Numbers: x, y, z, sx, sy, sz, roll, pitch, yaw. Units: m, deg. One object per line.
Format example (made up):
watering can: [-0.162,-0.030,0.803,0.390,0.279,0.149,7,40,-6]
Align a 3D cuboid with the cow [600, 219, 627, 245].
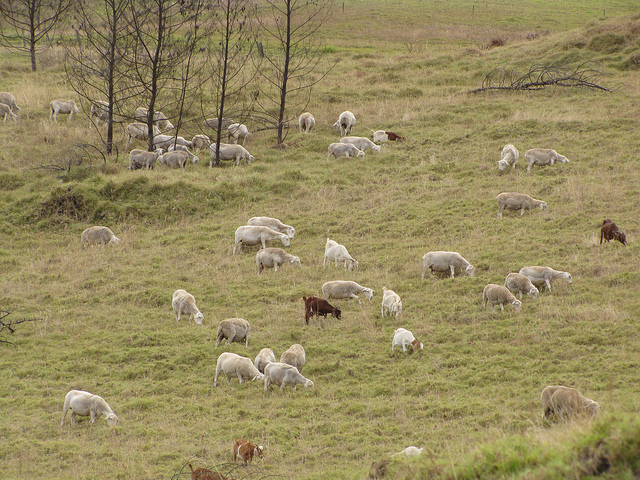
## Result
cow: [17.706,-0.447,87.448,1.558,1.314,0.881,0,8,11]

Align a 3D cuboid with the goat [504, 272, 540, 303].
goat: [11.733,2.772,85.459,0.776,1.532,2.442,-8,22,-45]

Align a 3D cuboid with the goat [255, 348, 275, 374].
goat: [-3.172,6.848,82.542,0.651,1.243,1.650,3,19,4]

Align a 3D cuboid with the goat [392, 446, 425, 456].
goat: [4.777,11.146,77.129,1.303,0.444,0.783,-10,-17,-3]

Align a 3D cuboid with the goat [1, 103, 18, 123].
goat: [-22.256,-9.073,102.992,0.714,1.221,1.074,4,10,37]

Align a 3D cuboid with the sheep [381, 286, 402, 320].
sheep: [4.177,3.711,85.367,0.662,1.482,2.117,-1,8,-28]

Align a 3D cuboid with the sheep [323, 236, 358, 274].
sheep: [1.185,1.091,89.039,0.953,2.079,2.852,-8,19,-43]

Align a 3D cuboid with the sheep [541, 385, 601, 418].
sheep: [13.706,8.726,78.957,2.322,1.828,2.646,-5,4,37]

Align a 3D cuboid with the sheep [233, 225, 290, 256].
sheep: [-3.732,0.003,91.580,3.608,2.566,1.089,6,29,1]

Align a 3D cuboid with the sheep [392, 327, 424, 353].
sheep: [4.965,5.694,83.149,1.640,1.253,0.736,-1,8,7]

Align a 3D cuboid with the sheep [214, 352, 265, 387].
sheep: [-4.623,7.517,82.538,3.124,2.129,1.110,13,13,24]

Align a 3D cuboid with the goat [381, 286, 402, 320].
goat: [4.190,3.687,85.242,1.198,1.719,0.783,3,9,30]

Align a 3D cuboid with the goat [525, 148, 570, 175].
goat: [14.671,-5.153,94.646,2.501,1.522,0.872,-1,8,7]

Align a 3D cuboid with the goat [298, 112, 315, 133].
goat: [-0.955,-8.478,104.775,1.070,1.396,0.904,-3,8,-6]

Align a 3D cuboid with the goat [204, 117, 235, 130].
goat: [-7.224,-8.385,104.497,1.725,0.544,0.968,-8,0,-20]

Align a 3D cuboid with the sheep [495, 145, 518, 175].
sheep: [12.433,-5.415,95.175,0.737,1.554,2.707,9,30,18]

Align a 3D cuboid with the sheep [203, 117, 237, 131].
sheep: [-7.198,-8.349,104.549,1.949,0.566,1.104,-7,1,-17]

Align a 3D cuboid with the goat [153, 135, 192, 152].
goat: [-10.476,-6.769,101.919,2.220,1.381,0.673,-2,34,-5]

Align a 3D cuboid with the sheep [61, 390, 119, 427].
sheep: [-12.811,9.520,80.651,3.206,2.167,1.062,9,1,11]

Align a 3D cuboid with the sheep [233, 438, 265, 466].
sheep: [-3.911,11.409,78.445,1.598,1.265,0.755,-3,8,-6]

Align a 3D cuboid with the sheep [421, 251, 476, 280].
sheep: [7.605,1.503,87.110,2.938,1.529,0.537,0,8,15]

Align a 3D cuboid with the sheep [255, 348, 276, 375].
sheep: [-3.106,6.833,82.562,0.652,1.230,1.636,3,21,6]

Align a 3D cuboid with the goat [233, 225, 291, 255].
goat: [-3.799,0.110,91.120,2.987,1.855,2.142,-8,14,-31]

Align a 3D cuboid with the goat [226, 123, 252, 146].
goat: [-5.954,-7.575,104.623,1.887,1.508,1.660,5,11,39]
